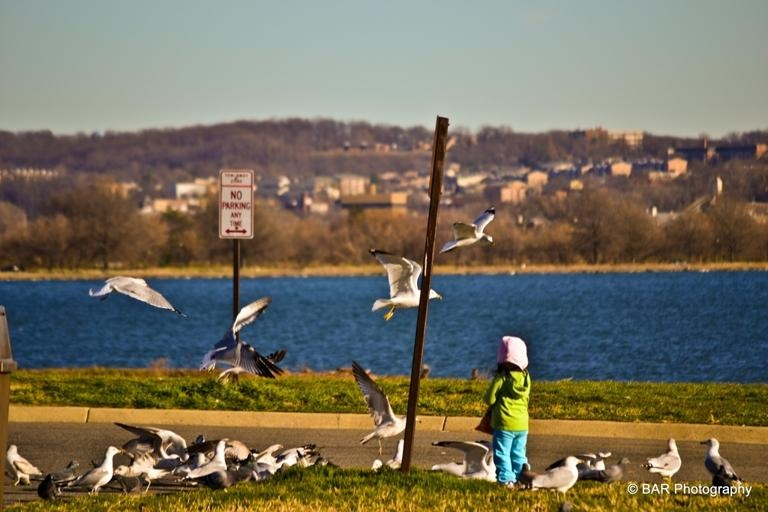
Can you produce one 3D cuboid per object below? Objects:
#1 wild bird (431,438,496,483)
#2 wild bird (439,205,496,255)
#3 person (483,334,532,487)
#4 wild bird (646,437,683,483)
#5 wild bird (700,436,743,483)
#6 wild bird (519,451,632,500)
[{"bbox_3d":[1.969,4.720,44.821,1.329,0.930,2.046,7,-6,21],"label":"wild bird"},{"bbox_3d":[2.187,-0.794,48.605,1.240,0.977,3.415,-1,1,2],"label":"wild bird"},{"bbox_3d":[2.897,3.510,44.245,0.963,3.446,0.333,-1,1,1],"label":"person"},{"bbox_3d":[6.503,4.680,44.621,0.637,0.993,1.172,5,0,41],"label":"wild bird"},{"bbox_3d":[7.806,4.684,44.574,1.204,1.104,0.680,-2,0,1],"label":"wild bird"},{"bbox_3d":[4.293,4.943,44.106,2.370,0.825,0.903,-2,1,-22],"label":"wild bird"}]
